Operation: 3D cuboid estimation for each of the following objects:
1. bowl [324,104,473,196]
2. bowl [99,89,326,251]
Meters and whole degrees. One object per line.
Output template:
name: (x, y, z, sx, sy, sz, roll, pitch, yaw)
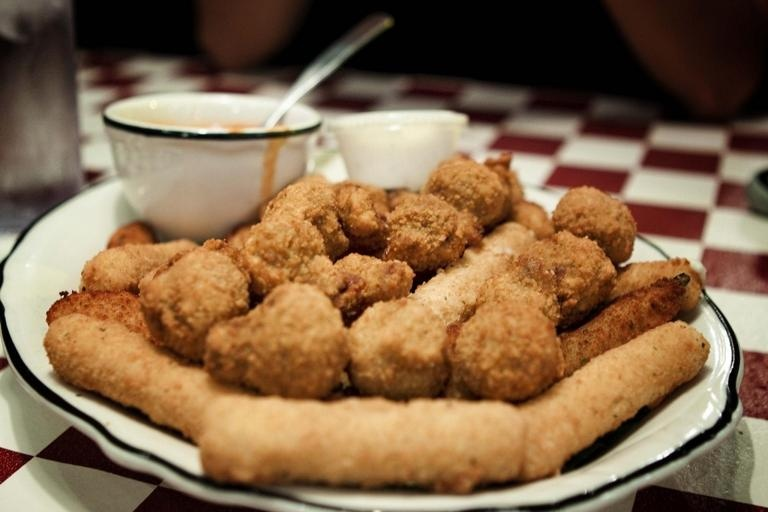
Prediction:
bowl: (0.043, -0.275, 1.639, 0.248, 0.110, 0.248, 0, 11, 0)
bowl: (-0.384, -0.217, 1.556, 0.433, 0.274, 0.417, 6, 19, -2)
